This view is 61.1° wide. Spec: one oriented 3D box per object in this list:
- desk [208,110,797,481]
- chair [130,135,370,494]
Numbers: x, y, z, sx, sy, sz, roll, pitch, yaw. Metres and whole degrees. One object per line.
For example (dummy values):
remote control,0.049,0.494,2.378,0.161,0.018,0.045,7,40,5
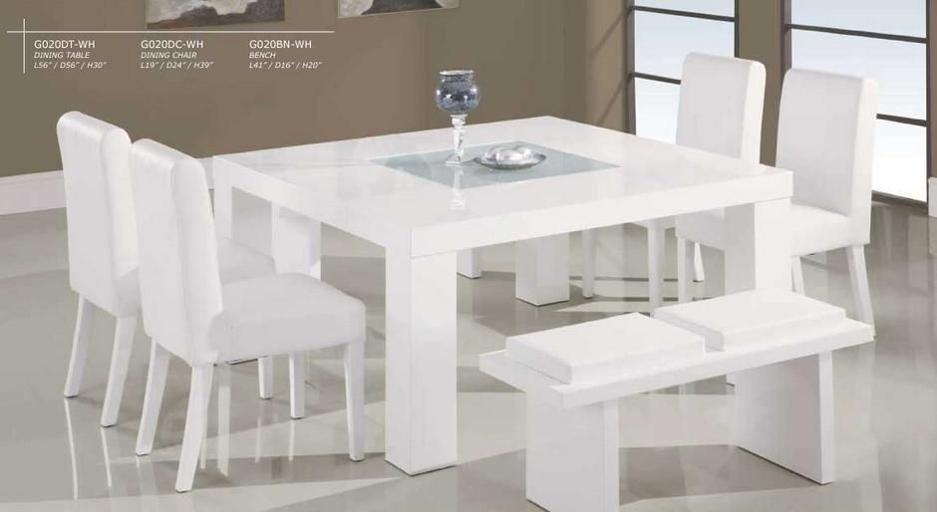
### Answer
desk,-0.215,-0.202,4.408,2.183,0.967,2.183,-10,17,-31
chair,-1.020,0.245,3.756,1.004,1.530,0.646,-4,20,-15
